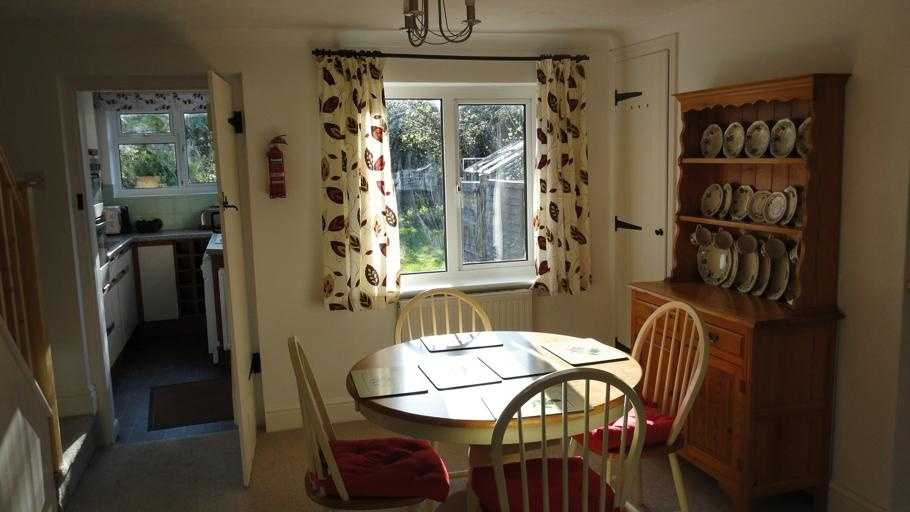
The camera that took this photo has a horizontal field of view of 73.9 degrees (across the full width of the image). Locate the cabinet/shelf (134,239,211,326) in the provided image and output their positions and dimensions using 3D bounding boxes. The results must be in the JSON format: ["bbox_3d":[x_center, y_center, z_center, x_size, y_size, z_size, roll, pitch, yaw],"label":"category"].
[{"bbox_3d":[-3.764,0.351,7.379,1.111,1.065,0.356,-5,-1,10],"label":"cabinet/shelf"}]

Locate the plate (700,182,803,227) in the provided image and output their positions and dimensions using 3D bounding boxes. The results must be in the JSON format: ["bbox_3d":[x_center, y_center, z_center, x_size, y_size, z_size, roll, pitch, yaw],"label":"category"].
[{"bbox_3d":[2.224,-0.368,4.473,0.130,0.299,0.714,3,7,-18],"label":"plate"}]

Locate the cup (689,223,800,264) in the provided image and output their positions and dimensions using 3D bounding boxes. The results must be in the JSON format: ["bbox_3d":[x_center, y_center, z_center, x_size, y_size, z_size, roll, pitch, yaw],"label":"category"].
[{"bbox_3d":[2.175,-0.097,4.610,0.141,0.253,0.594,-6,15,-45],"label":"cup"}]

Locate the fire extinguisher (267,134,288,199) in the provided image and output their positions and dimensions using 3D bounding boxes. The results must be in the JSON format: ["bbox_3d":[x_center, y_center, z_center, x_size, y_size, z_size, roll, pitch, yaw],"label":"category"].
[{"bbox_3d":[-1.504,-0.743,5.094,0.181,0.530,0.122,-5,11,-16],"label":"fire extinguisher"}]
